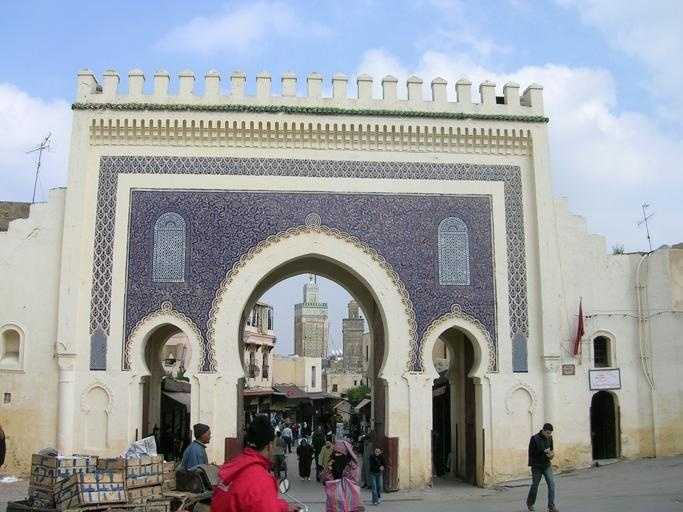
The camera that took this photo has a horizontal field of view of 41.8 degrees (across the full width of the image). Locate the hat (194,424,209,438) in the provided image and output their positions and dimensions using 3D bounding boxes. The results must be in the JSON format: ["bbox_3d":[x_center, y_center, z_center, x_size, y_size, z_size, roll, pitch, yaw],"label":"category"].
[{"bbox_3d":[-2.082,2.608,13.381,0.223,0.192,0.173,-13,10,-26],"label":"hat"}]

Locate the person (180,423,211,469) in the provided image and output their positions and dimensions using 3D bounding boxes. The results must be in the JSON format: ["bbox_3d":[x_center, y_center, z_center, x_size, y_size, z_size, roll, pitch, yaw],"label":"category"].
[{"bbox_3d":[-2.234,2.880,13.594,0.445,0.683,0.832,-1,-12,-10],"label":"person"}]

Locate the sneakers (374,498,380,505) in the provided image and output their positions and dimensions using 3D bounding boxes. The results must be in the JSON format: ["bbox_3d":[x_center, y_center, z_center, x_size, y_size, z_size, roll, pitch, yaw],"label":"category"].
[{"bbox_3d":[0.613,4.221,15.443,0.068,0.093,0.210,0,-19,2],"label":"sneakers"}]

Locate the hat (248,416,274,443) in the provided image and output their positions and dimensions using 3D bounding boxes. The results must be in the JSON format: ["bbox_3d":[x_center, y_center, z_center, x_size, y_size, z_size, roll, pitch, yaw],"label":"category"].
[{"bbox_3d":[-0.894,1.935,10.099,0.259,0.299,0.304,-4,6,6],"label":"hat"}]
